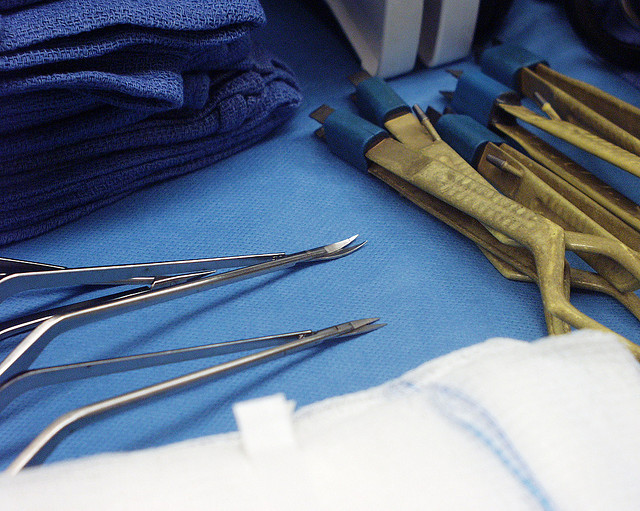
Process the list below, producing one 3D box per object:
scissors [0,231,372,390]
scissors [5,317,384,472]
[{"bbox_3d":[-0.131,0.063,0.774,0.490,0.089,0.139,-5,40,-21],"label":"scissors"},{"bbox_3d":[-0.051,0.132,0.706,0.529,0.043,0.113,-6,26,-29],"label":"scissors"}]
